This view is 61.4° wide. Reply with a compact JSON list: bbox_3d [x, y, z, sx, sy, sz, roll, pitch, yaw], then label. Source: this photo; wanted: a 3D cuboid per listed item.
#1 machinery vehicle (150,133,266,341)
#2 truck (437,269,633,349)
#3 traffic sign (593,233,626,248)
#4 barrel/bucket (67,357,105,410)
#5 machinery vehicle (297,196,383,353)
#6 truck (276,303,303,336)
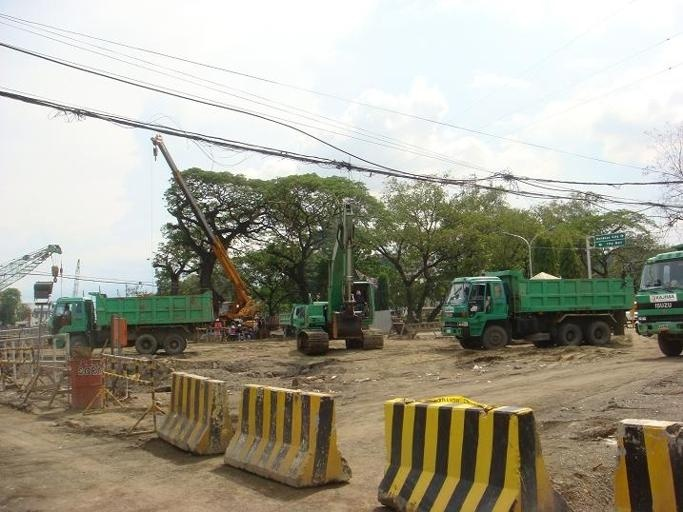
[{"bbox_3d":[-8.812,-0.273,38.950,5.889,17.994,4.180,7,32,29],"label":"machinery vehicle"},{"bbox_3d":[8.370,2.239,24.313,7.639,3.255,1.115,-1,-2,-8],"label":"truck"},{"bbox_3d":[19.629,-1.205,42.209,0.743,0.926,2.926,-1,-4,-9],"label":"traffic sign"},{"bbox_3d":[-6.602,3.323,15.003,1.056,1.193,1.397,1,3,-33],"label":"barrel/bucket"},{"bbox_3d":[-0.157,1.303,28.531,3.906,6.258,8.687,0,-1,-8],"label":"machinery vehicle"},{"bbox_3d":[-3.200,4.816,42.213,1.553,2.359,4.750,5,-10,-27],"label":"truck"}]
